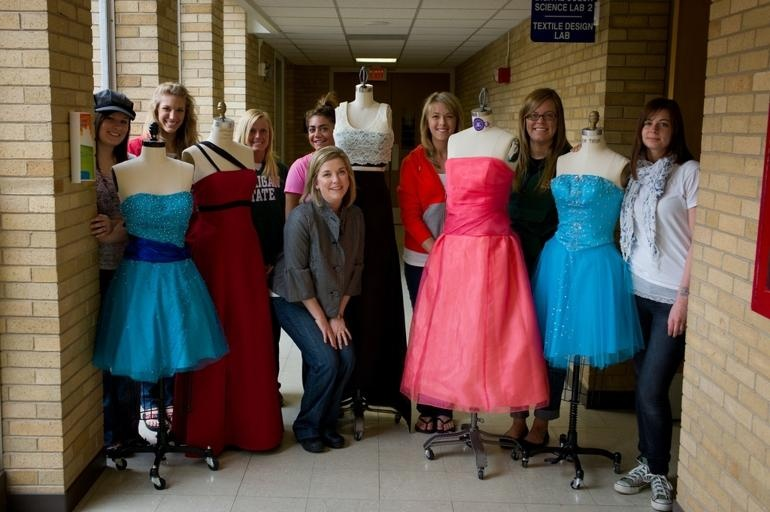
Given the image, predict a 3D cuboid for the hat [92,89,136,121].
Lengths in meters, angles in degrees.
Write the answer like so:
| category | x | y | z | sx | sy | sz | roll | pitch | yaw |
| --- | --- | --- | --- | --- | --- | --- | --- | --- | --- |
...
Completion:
| category | x | y | z | sx | sy | sz | roll | pitch | yaw |
| --- | --- | --- | --- | --- | --- | --- | --- | --- | --- |
| hat | -1.652 | -0.921 | 3.596 | 0.215 | 0.104 | 0.170 | 2 | 4 | 33 |
